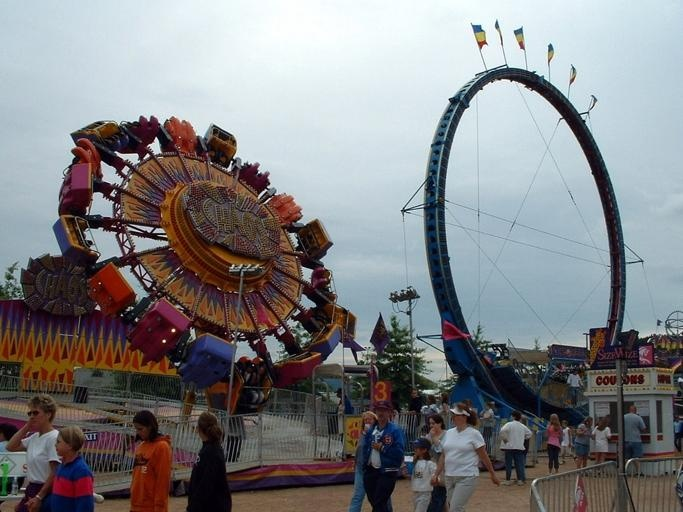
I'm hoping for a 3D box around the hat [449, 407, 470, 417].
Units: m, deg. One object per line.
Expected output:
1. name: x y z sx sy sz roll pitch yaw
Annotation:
1. hat: 1.990 2.623 10.625 0.263 0.088 0.159 22 -14 -18
